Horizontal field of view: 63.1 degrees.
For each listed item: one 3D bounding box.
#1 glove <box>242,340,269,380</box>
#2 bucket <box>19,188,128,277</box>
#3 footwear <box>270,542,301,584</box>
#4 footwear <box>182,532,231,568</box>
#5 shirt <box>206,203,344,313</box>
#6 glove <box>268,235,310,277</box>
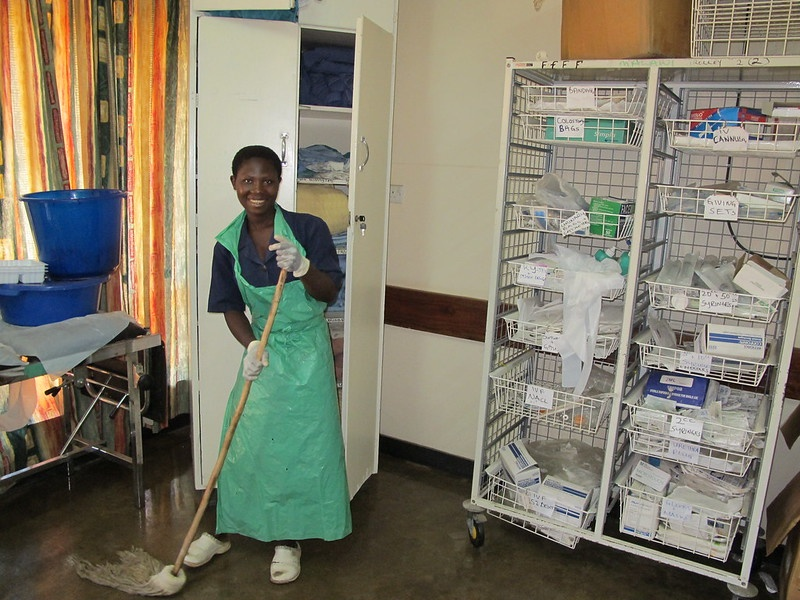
[{"bbox_3d":[-0.626,0.253,2.854,0.072,0.120,0.160,14,40,-24],"label":"glove"},{"bbox_3d":[-1.596,-0.307,3.323,0.438,0.386,0.442,5,21,-2],"label":"bucket"},{"bbox_3d":[-0.540,1.250,3.142,0.130,0.105,0.270,2,18,3],"label":"footwear"},{"bbox_3d":[-0.940,1.211,3.172,0.089,0.085,0.186,11,12,25],"label":"footwear"},{"bbox_3d":[-0.581,-0.187,3.011,0.603,0.516,0.269,-5,8,7],"label":"shirt"},{"bbox_3d":[-0.459,-0.174,2.748,0.155,0.189,0.124,1,14,0],"label":"glove"}]
